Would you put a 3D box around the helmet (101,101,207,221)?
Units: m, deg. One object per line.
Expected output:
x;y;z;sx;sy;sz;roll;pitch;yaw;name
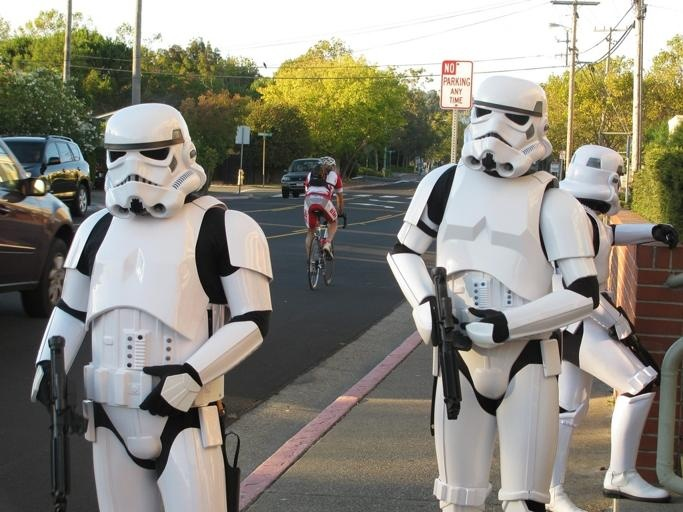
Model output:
-0.891;-0.431;3.828;0.435;0.562;0.522;-1;2;7;helmet

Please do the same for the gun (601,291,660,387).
1.927;0.574;5.053;0.134;0.591;0.212;-23;-8;-6;gun

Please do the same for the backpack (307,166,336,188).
-0.316;-1.352;12.926;0.515;0.413;0.344;0;7;-2;backpack

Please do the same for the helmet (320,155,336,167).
-0.234;-1.636;12.980;0.216;0.150;0.185;-2;-1;23;helmet

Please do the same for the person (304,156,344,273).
-0.305;-0.832;13.380;0.658;1.807;1.860;0;7;-1;person

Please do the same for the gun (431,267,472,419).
0.573;0.471;3.837;0.191;0.804;0.305;-1;6;-5;gun

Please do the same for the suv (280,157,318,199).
-2.173;-3.682;35.876;1.627;2.010;3.621;0;4;9;suv

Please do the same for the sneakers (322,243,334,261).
-0.219;-0.052;13.050;0.103;0.172;0.349;-4;-8;11;sneakers

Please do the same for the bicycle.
-0.414;-0.029;13.328;0.439;1.088;1.579;1;11;9;bicycle
